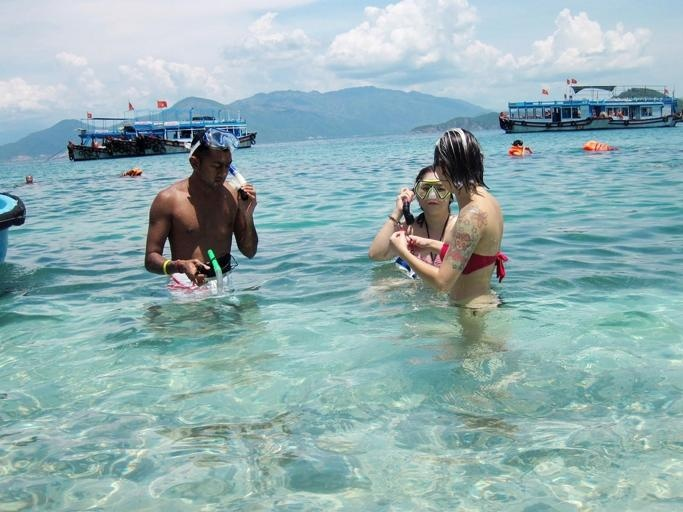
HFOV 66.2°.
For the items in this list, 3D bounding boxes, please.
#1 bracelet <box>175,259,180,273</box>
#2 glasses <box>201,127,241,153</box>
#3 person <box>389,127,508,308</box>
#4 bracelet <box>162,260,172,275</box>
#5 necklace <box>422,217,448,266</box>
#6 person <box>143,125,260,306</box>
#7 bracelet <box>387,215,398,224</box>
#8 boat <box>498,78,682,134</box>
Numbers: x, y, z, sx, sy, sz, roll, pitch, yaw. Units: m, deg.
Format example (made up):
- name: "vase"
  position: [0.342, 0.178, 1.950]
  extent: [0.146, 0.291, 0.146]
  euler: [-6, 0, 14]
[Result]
- name: "bracelet"
  position: [-1.425, 0.096, 4.578]
  extent: [0.049, 0.110, 0.093]
  euler: [-8, 10, -18]
- name: "glasses"
  position: [-1.077, -1.025, 4.613]
  extent: [0.312, 0.104, 0.222]
  euler: [24, 12, 38]
- name: "person"
  position: [0.906, -0.262, 4.152]
  extent: [0.806, 1.459, 0.547]
  euler: [-10, 11, -31]
- name: "bracelet"
  position: [-1.544, 0.101, 4.639]
  extent: [0.139, 0.110, 0.115]
  euler: [-1, -31, -11]
- name: "necklace"
  position: [0.938, -0.139, 5.203]
  extent: [0.233, 0.015, 0.632]
  euler: [0, 37, 12]
- name: "person"
  position: [-1.258, -0.423, 4.802]
  extent: [0.619, 1.409, 0.937]
  euler: [4, 12, 41]
- name: "bracelet"
  position: [0.570, -0.395, 5.675]
  extent: [0.023, 0.091, 0.095]
  euler: [-49, 11, -9]
- name: "boat"
  position: [25.163, -14.485, 53.482]
  extent: [15.722, 4.096, 6.344]
  euler: [0, 9, 22]
